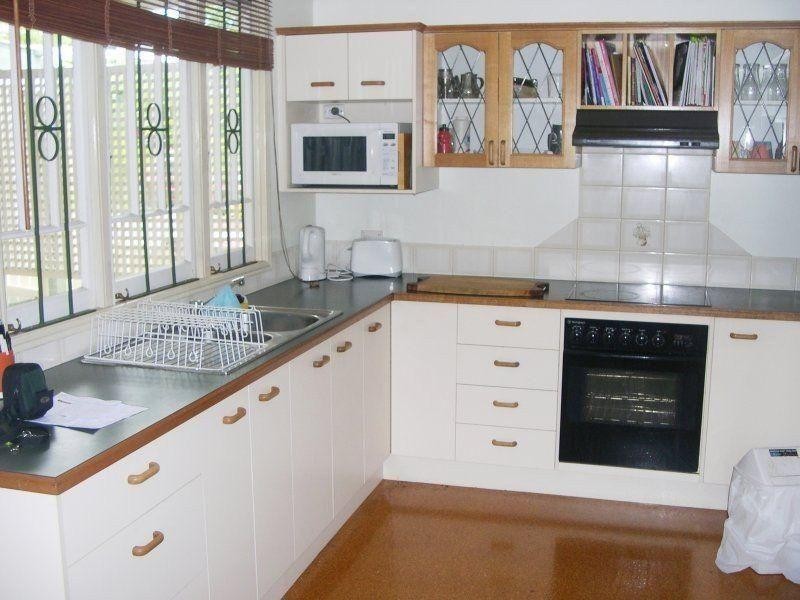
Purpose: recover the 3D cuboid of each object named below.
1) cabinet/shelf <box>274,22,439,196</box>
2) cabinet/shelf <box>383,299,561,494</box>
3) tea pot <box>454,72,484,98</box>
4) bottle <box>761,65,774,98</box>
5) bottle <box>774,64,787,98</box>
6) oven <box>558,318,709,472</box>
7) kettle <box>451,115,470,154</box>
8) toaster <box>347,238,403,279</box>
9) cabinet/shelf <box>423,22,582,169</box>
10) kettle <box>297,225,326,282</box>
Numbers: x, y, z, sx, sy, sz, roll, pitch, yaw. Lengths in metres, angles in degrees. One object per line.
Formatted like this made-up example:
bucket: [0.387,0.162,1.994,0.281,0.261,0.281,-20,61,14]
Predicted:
cabinet/shelf: [-0.233,-1.080,4.033,0.821,0.890,0.485,5,9,20]
cabinet/shelf: [0.412,0.474,3.635,0.939,1.003,0.495,1,6,13]
tea pot: [0.376,-1.196,3.785,0.173,0.175,0.107,0,8,8]
bottle: [1.889,-1.134,3.503,0.071,0.167,0.029,5,14,20]
bottle: [1.962,-1.125,3.487,0.064,0.174,0.036,2,14,8]
oven: [1.242,0.417,3.685,0.697,0.843,0.552,2,16,15]
kettle: [0.345,-0.942,3.842,0.135,0.224,0.179,2,18,8]
toaster: [-0.165,-0.257,4.110,0.357,0.293,0.208,0,6,2]
cabinet/shelf: [0.588,-1.148,3.736,0.747,0.689,0.298,1,9,13]
kettle: [-0.536,-0.279,4.063,0.154,0.309,0.187,0,14,-3]
